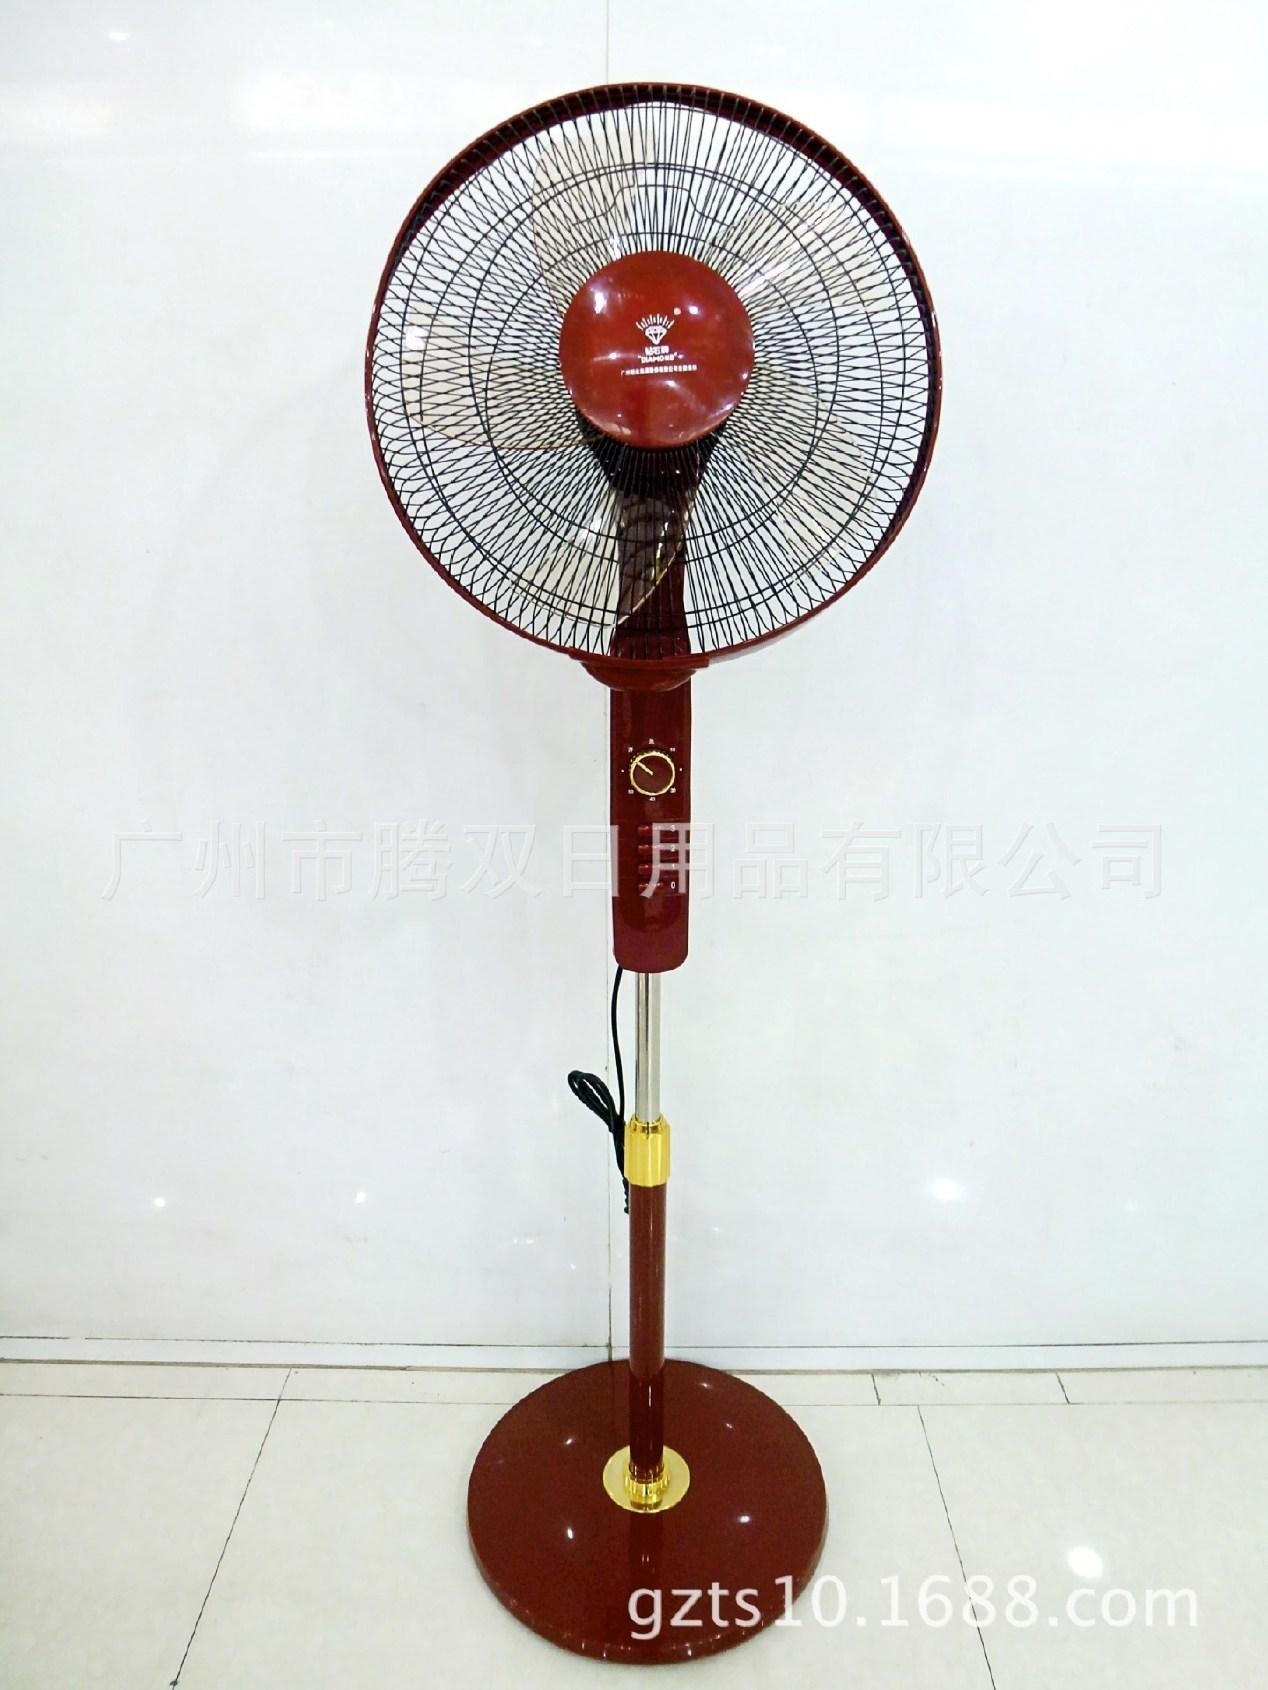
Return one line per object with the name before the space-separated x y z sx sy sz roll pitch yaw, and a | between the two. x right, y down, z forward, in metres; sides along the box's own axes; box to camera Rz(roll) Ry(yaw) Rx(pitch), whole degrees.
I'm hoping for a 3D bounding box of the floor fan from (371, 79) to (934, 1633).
floor fan | -0.010 0.089 1.884 0.521 1.616 0.481 0 11 -6
